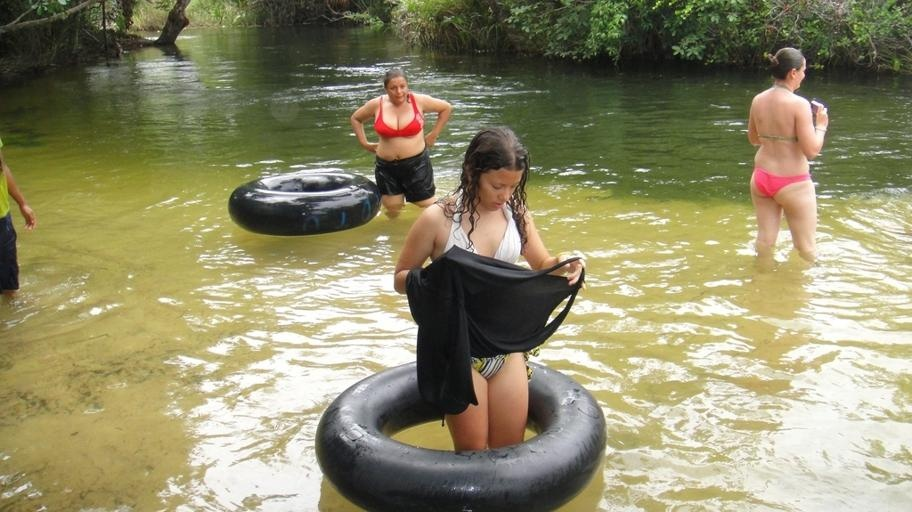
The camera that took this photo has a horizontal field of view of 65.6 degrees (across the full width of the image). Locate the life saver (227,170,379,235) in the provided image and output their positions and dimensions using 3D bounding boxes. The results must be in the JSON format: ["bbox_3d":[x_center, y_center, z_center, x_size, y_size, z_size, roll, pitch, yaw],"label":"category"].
[{"bbox_3d":[-2.126,-0.772,10.426,1.458,0.450,1.411,12,20,41],"label":"life saver"}]

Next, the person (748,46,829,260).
[{"bbox_3d":[4.378,-1.321,9.336,1.035,2.758,0.482,6,20,19],"label":"person"}]
